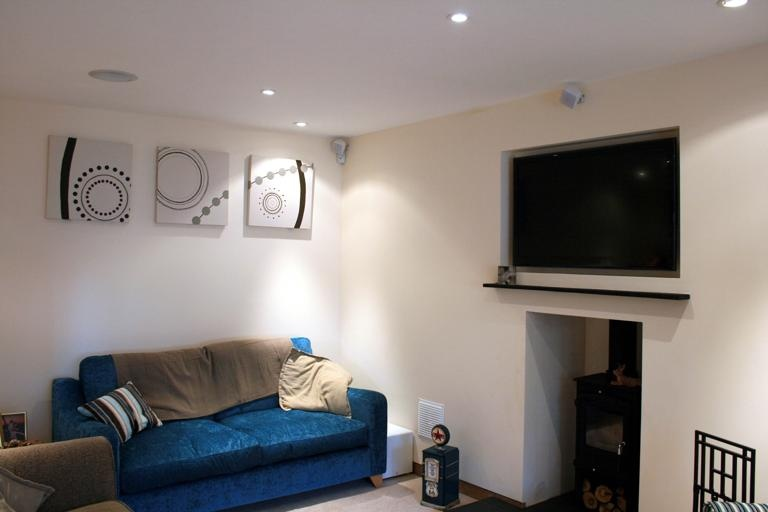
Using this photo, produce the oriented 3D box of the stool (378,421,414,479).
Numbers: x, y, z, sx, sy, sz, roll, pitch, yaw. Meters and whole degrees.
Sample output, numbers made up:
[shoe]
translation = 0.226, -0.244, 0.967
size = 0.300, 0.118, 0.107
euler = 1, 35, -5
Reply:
[stool]
translation = 0.108, 1.876, 5.441
size = 0.350, 0.387, 0.375
euler = 10, -9, -30
